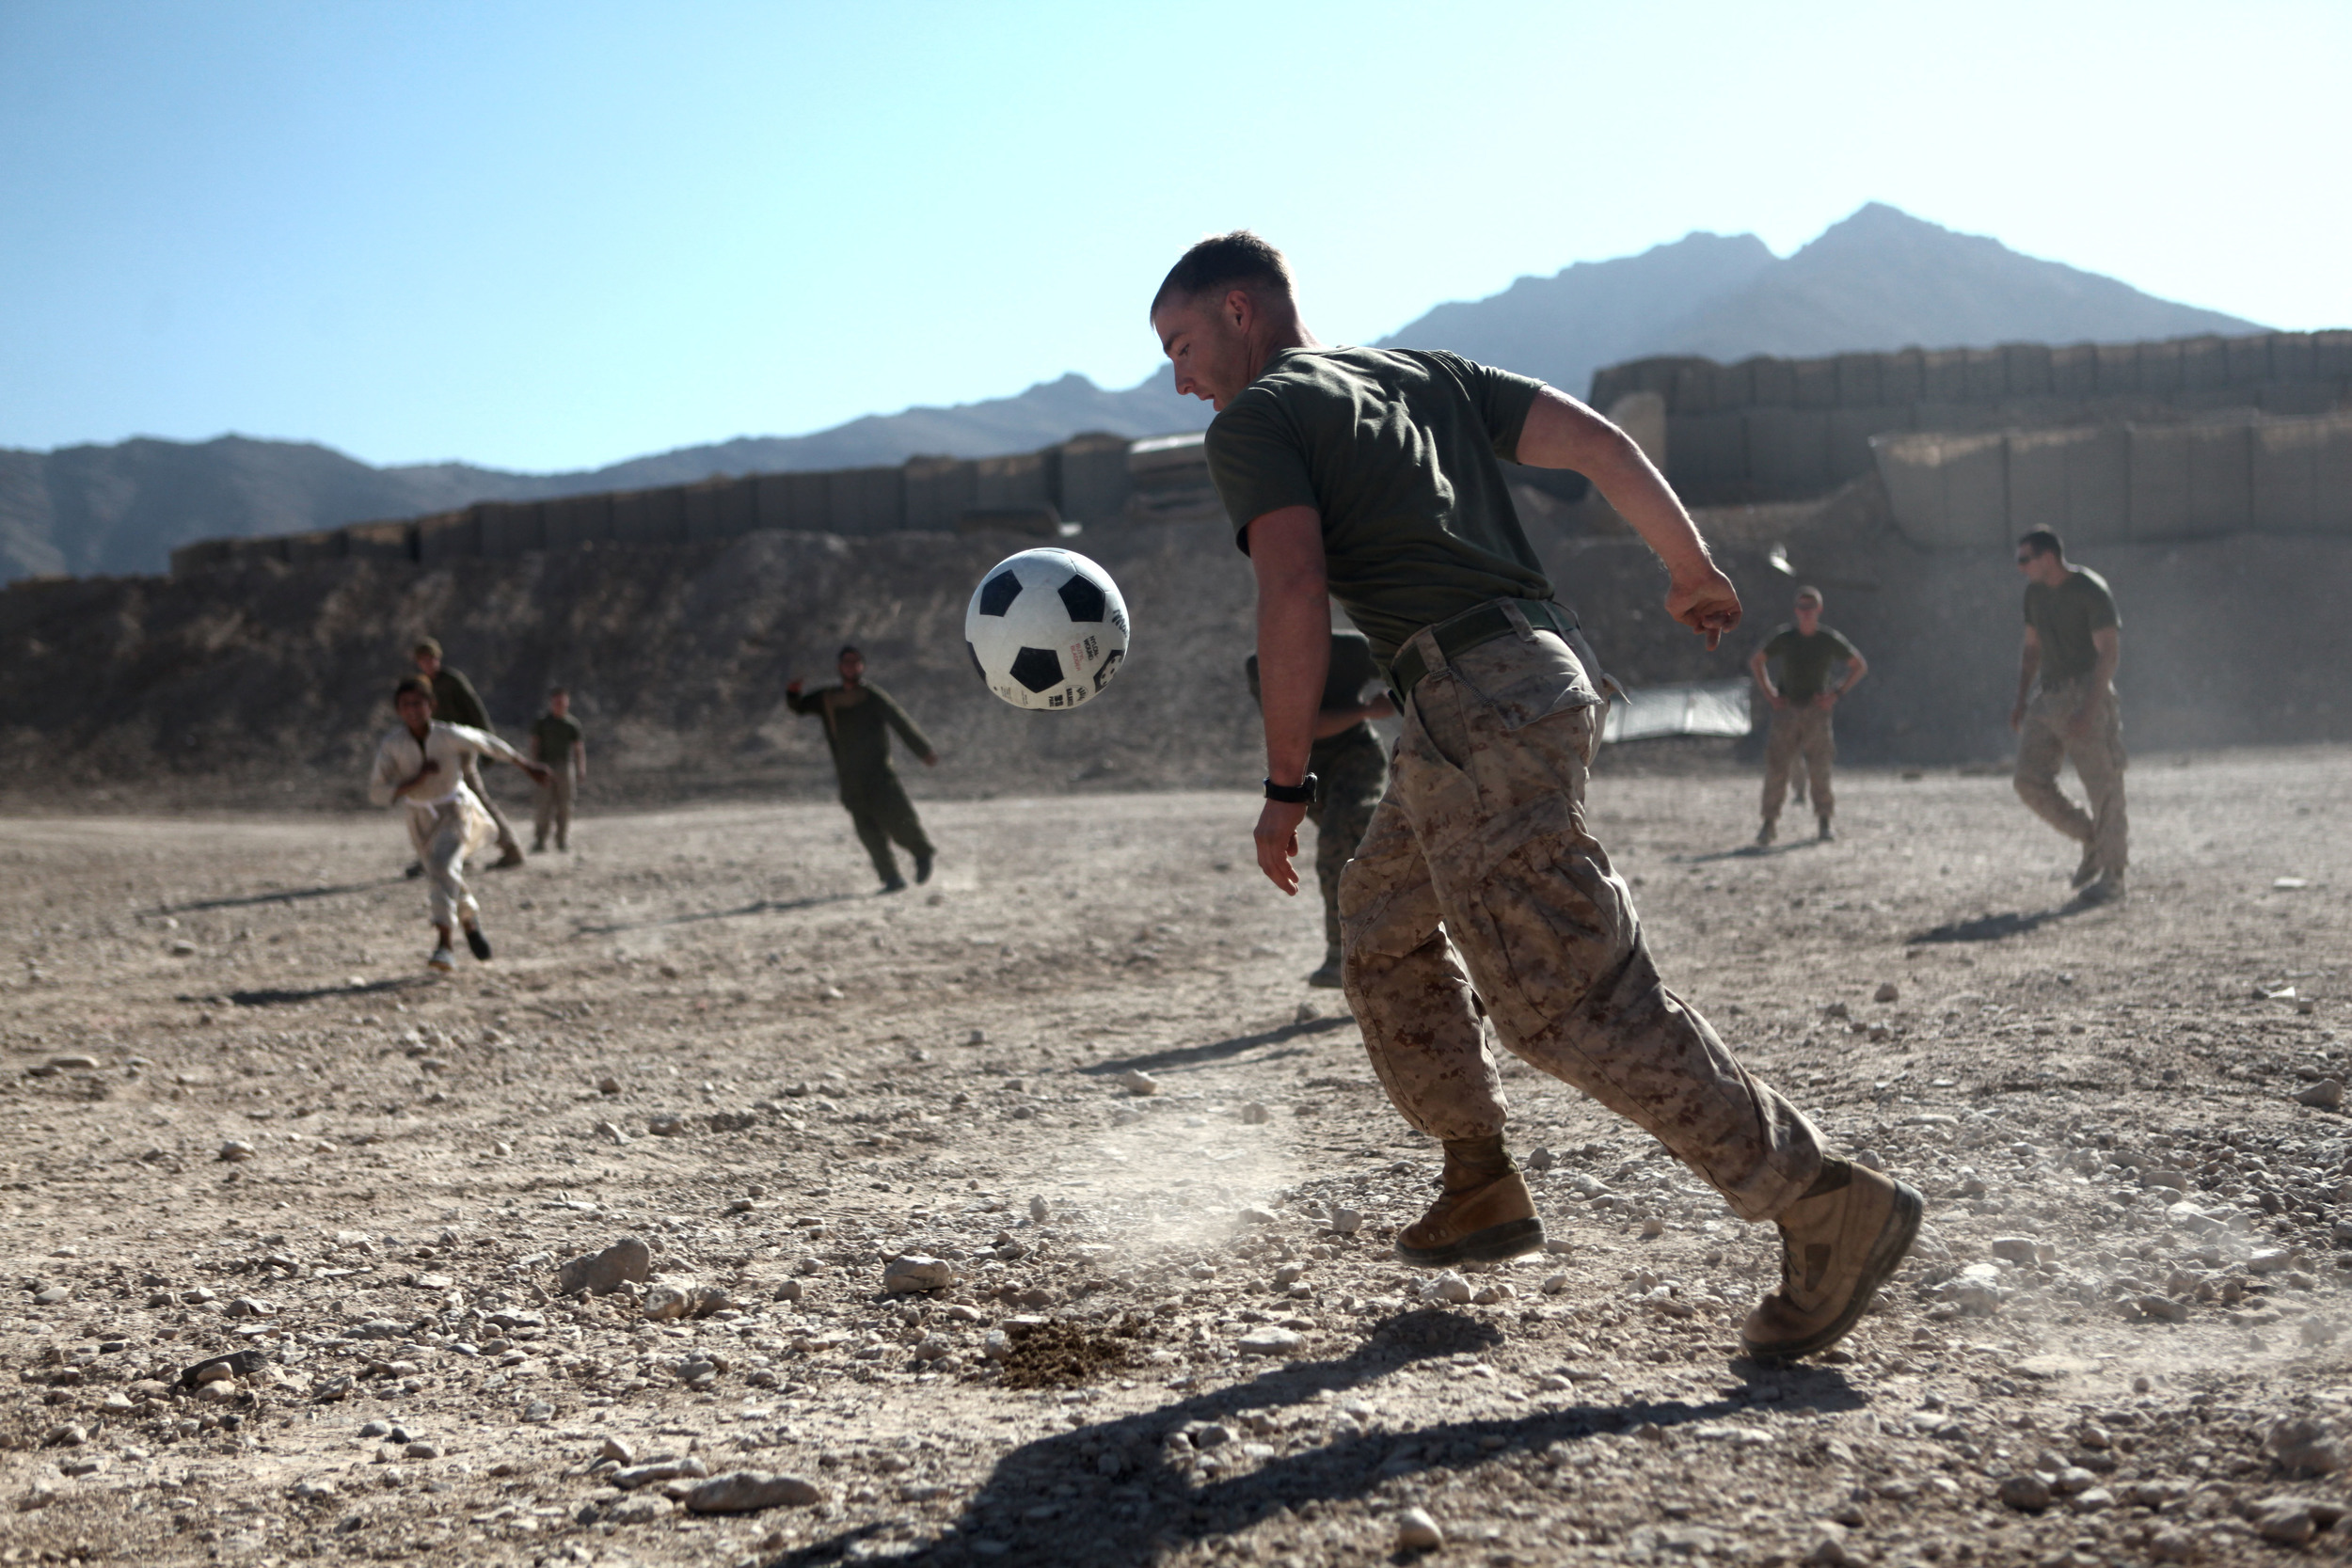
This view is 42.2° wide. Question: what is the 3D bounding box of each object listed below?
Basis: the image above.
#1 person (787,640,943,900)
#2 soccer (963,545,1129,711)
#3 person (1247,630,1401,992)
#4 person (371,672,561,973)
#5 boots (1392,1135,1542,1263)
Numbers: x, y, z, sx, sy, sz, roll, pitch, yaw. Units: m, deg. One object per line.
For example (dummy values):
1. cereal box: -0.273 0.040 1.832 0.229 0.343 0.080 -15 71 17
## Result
1. person: -2.514 -0.164 24.840 0.961 2.595 0.991 0 0 -6
2. soccer: -0.720 -0.875 17.216 0.882 0.898 0.507 -7 5 -6
3. person: 0.886 0.156 18.185 1.037 2.256 0.857 1 -1 -2
4. person: -4.899 0.274 20.930 0.939 2.026 0.829 -3 1 23
5. boots: 1.408 1.981 15.370 0.744 0.817 0.394 -10 19 6
